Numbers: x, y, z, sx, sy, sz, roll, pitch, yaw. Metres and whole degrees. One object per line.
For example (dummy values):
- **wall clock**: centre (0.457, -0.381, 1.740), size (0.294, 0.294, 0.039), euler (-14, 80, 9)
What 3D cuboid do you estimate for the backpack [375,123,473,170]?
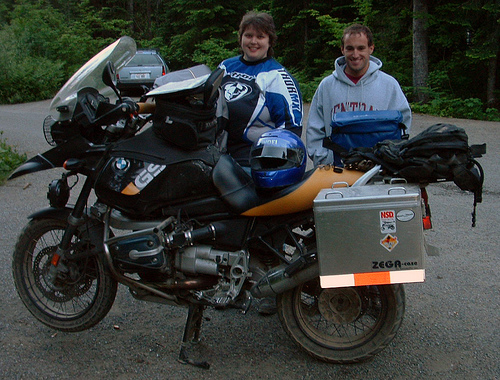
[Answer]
- **backpack**: centre (1.155, -0.284, 2.887), size (0.430, 0.175, 0.341), euler (-5, 6, 19)

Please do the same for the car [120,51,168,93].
- **car**: centre (-3.673, -4.232, 15.110), size (1.593, 1.393, 3.041), euler (-4, 27, -11)

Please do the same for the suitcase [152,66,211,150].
- **suitcase**: centre (-0.493, -0.645, 3.260), size (0.452, 0.601, 0.607), euler (10, 24, -16)

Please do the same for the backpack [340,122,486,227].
- **backpack**: centre (1.108, -0.210, 3.073), size (0.691, 0.470, 0.807), euler (14, 18, -1)
